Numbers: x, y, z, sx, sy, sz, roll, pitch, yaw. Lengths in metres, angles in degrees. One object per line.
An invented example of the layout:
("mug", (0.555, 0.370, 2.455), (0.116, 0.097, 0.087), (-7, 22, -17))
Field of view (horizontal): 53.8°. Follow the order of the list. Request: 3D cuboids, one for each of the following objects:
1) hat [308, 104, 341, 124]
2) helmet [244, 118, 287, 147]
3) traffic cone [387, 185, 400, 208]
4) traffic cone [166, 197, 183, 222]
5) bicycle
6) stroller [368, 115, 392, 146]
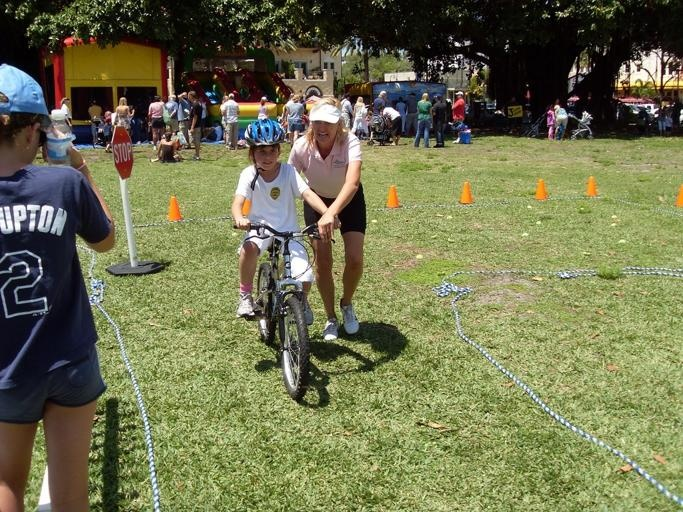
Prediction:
("hat", (-0.118, -1.179, 5.607), (0.280, 0.157, 0.182), (-3, 12, -11))
("helmet", (-0.587, -0.952, 5.253), (0.303, 0.214, 0.243), (-1, 12, -3))
("traffic cone", (0.925, -1.054, 11.902), (0.203, 0.370, 0.553), (0, 12, 4))
("traffic cone", (-2.753, -0.757, 11.108), (0.305, 0.431, 0.335), (-8, 38, -16))
("bicycle", (-0.468, 0.355, 5.424), (0.486, 1.319, 1.307), (-2, 12, -8))
("stroller", (1.467, -4.818, 25.395), (0.846, 1.216, 1.210), (4, 32, 10))
